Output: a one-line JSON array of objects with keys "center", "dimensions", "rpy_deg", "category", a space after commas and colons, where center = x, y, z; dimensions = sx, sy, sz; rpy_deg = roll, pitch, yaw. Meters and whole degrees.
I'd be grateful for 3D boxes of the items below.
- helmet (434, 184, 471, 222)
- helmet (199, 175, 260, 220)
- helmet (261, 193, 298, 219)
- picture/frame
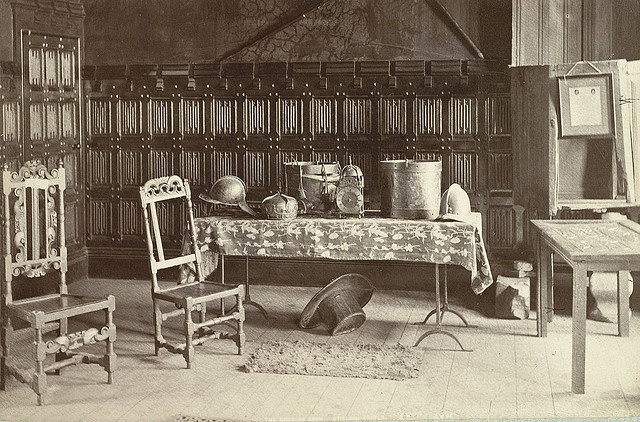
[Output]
[{"center": [1.387, -0.082, 6.044], "dimensions": [0.260, 0.323, 0.392], "rpy_deg": [1, 2, 32], "category": "helmet"}, {"center": [-1.009, -0.186, 6.381], "dimensions": [0.635, 0.303, 0.454], "rpy_deg": [24, -10, -11], "category": "helmet"}, {"center": [-0.423, -0.035, 6.023], "dimensions": [0.253, 0.222, 0.277], "rpy_deg": [1, 5, 5], "category": "helmet"}, {"center": [2.870, -1.144, 6.197], "dimensions": [0.598, 0.824, 0.053], "rpy_deg": [-1, 1, 6], "category": "picture/frame"}]
